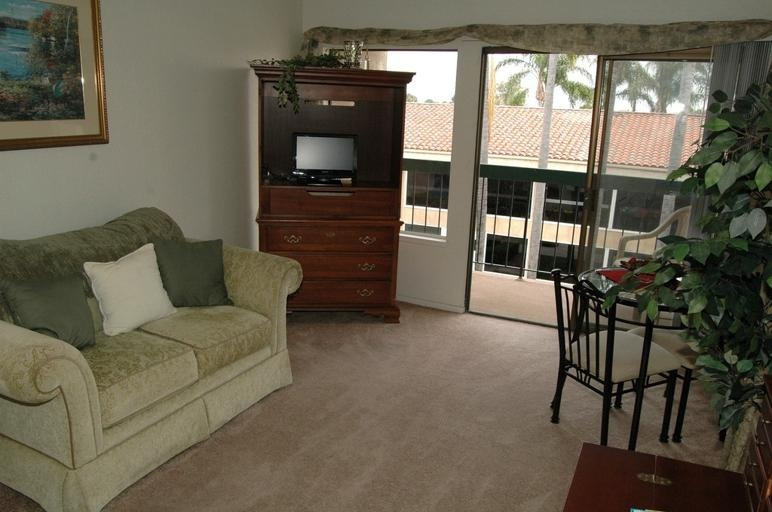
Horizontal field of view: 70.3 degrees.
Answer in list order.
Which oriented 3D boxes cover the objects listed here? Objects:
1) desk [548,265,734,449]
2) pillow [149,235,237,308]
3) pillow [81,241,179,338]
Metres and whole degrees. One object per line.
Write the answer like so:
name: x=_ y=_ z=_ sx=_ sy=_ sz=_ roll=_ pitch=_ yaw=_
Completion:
desk: x=1.657 y=0.711 z=3.550 sx=0.853 sy=1.331 sz=0.821 roll=-13 pitch=21 yaw=-23
pillow: x=-1.464 y=0.126 z=4.099 sx=0.551 sy=0.494 sz=0.158 roll=1 pitch=-17 yaw=-30
pillow: x=-1.785 y=0.246 z=3.759 sx=0.304 sy=0.469 sz=0.540 roll=14 pitch=23 yaw=36
